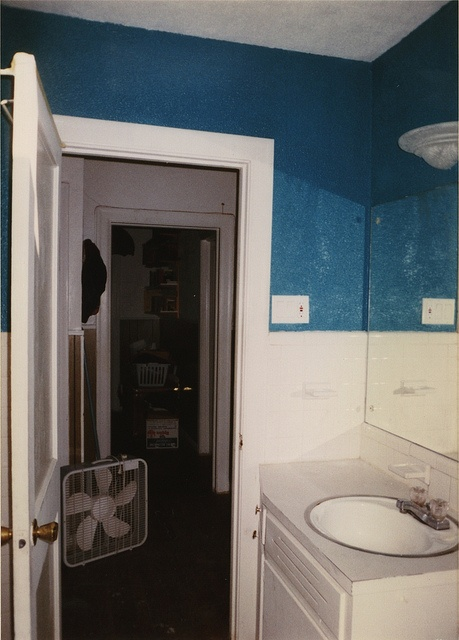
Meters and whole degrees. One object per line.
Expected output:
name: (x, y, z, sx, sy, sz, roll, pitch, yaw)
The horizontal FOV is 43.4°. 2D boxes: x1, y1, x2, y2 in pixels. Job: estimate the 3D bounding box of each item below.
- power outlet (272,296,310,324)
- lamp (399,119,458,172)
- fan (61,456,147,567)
power outlet: (0.223, -0.037, 2.127, 0.127, 0.102, 0.033, -2, 3, -13)
lamp: (0.575, -0.494, 1.672, 0.162, 0.084, 0.353, 1, 3, 16)
fan: (-0.625, 0.932, 2.867, 0.414, 0.500, 0.166, -4, 4, -33)
